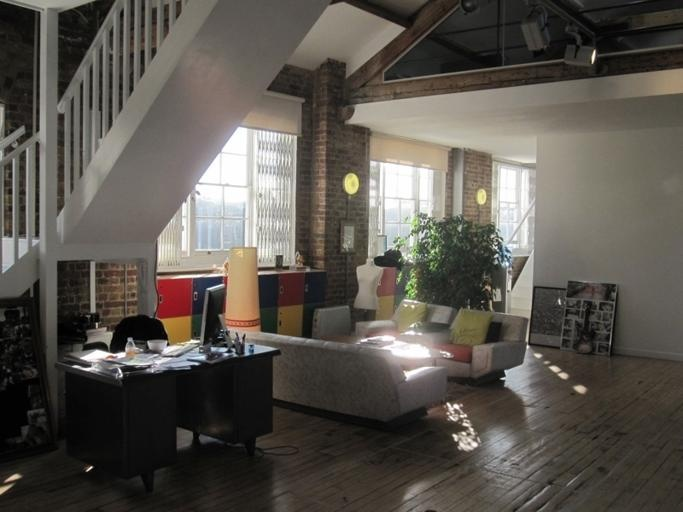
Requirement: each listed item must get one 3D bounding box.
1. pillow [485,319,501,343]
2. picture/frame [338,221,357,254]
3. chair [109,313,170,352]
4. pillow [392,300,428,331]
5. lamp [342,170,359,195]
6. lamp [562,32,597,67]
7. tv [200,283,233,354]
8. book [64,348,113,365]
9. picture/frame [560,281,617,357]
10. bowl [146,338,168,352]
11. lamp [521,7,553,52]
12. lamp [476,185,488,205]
[{"bbox_3d":[2.189,1.105,7.405,0.254,0.334,0.109,7,-11,6],"label":"pillow"},{"bbox_3d":[0.144,-0.346,9.384,0.408,0.590,0.046,5,6,44],"label":"picture/frame"},{"bbox_3d":[-2.245,0.827,5.568,0.429,0.618,0.196,15,-13,-14],"label":"chair"},{"bbox_3d":[1.079,0.939,8.096,0.139,0.459,0.455,26,-12,-30],"label":"pillow"},{"bbox_3d":[0.204,-1.330,9.418,0.109,0.426,0.441,4,3,40],"label":"lamp"},{"bbox_3d":[3.121,-2.686,6.657,0.383,0.388,0.202,1,2,-14],"label":"lamp"},{"bbox_3d":[-1.158,0.588,4.875,0.209,0.581,0.610,2,1,2],"label":"tv"},{"bbox_3d":[-2.201,0.886,4.475,0.200,0.050,0.200,6,4,37],"label":"book"},{"bbox_3d":[4.501,1.176,9.213,1.107,1.802,0.183,3,-6,37],"label":"picture/frame"},{"bbox_3d":[-1.651,0.810,4.627,0.125,0.074,0.128,1,-6,0],"label":"bowl"},{"bbox_3d":[2.521,-3.007,6.640,0.262,0.539,0.516,3,3,33],"label":"lamp"},{"bbox_3d":[3.422,-1.461,12.519,0.084,0.404,0.385,6,16,28],"label":"lamp"}]
